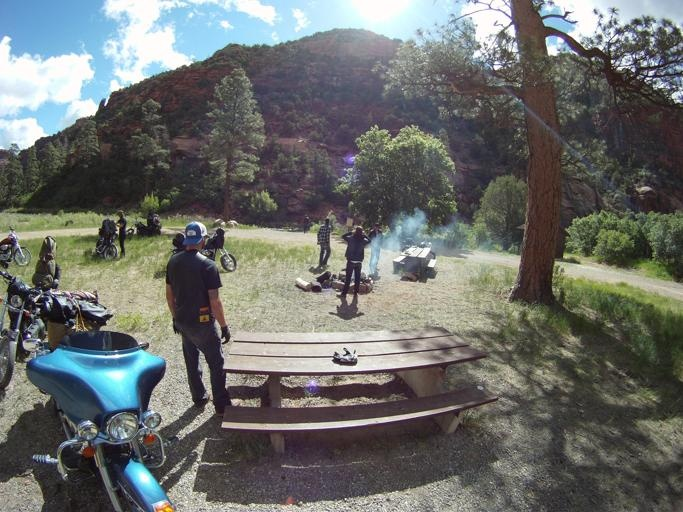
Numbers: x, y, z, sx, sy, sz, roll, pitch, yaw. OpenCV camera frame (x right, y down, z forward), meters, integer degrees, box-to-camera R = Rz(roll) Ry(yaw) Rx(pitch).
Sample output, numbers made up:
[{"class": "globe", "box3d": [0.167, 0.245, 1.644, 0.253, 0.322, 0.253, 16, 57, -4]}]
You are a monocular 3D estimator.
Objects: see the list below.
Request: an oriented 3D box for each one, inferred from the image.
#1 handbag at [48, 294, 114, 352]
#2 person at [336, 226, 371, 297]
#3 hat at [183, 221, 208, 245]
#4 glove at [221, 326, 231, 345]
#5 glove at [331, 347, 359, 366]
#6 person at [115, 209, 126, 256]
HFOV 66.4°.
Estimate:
[{"class": "handbag", "box3d": [-4.790, 1.076, 9.315, 1.085, 1.184, 0.519, 14, -18, -42]}, {"class": "person", "box3d": [0.363, 0.147, 15.084, 0.704, 2.048, 0.673, 5, 10, 20]}, {"class": "hat", "box3d": [-2.584, -0.410, 9.230, 0.289, 0.266, 0.466, 3, 25, -3]}, {"class": "glove", "box3d": [-2.037, 1.395, 9.325, 0.236, 0.365, 0.107, 4, -2, 19]}, {"class": "glove", "box3d": [0.077, 1.805, 9.403, 0.373, 0.257, 0.235, 1, 20, -9]}, {"class": "person", "box3d": [-8.021, -0.819, 19.030, 0.242, 1.674, 0.949, -2, 10, -23]}]
